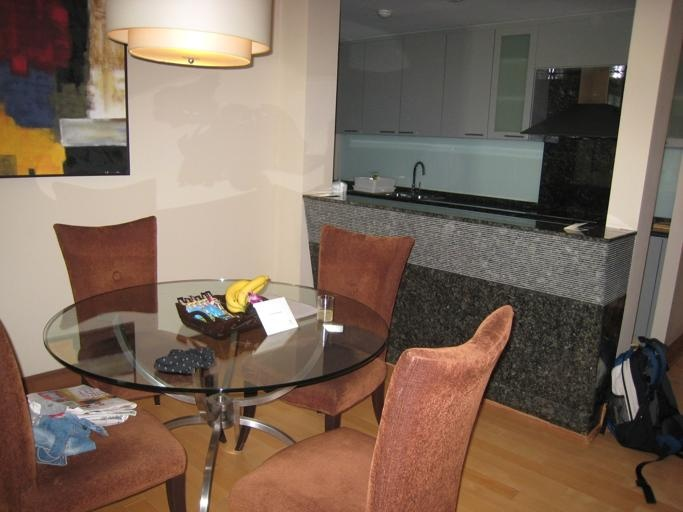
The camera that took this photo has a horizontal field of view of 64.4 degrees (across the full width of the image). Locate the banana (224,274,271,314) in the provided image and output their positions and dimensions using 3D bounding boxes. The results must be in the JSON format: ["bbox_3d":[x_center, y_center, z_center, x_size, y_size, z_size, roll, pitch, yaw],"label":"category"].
[{"bbox_3d":[-0.458,0.171,2.582,0.134,0.101,0.255,36,47,17],"label":"banana"}]

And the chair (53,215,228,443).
[{"bbox_3d":[-1.228,0.418,3.052,0.612,1.085,0.671,-3,30,-12],"label":"chair"}]

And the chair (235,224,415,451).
[{"bbox_3d":[-0.065,0.477,3.028,0.692,1.184,0.785,13,15,39],"label":"chair"}]

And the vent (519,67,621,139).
[{"bbox_3d":[2.164,-1.349,4.889,0.823,0.788,0.431,2,6,-6],"label":"vent"}]

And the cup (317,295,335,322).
[{"bbox_3d":[-0.068,0.251,2.608,0.112,0.116,0.085,-9,16,-42],"label":"cup"}]

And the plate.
[{"bbox_3d":[-0.552,0.274,2.524,0.317,0.110,0.343,18,16,35],"label":"plate"}]
